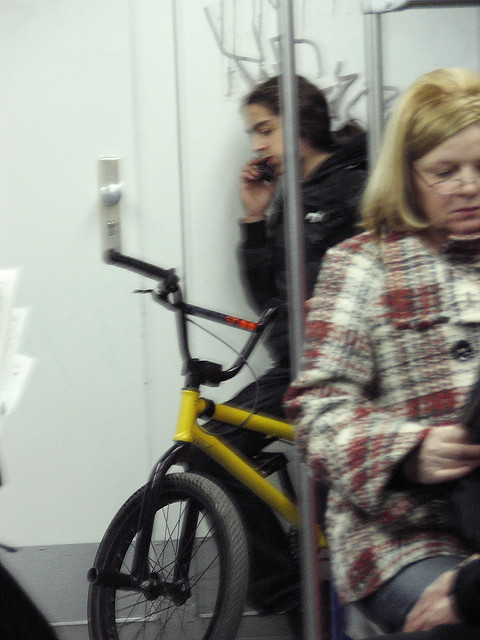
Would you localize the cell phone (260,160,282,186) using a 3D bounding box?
[{"bbox_3d":[0.063,-0.293,1.484,0.042,0.025,0.058,-14,53,-16],"label":"cell phone"}]

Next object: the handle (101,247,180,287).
[{"bbox_3d":[-0.219,-0.119,1.645,0.199,0.048,0.038,18,-3,14],"label":"handle"}]
